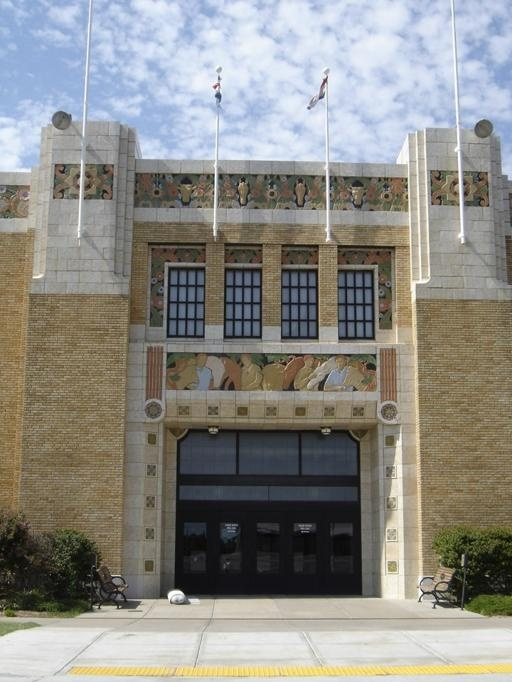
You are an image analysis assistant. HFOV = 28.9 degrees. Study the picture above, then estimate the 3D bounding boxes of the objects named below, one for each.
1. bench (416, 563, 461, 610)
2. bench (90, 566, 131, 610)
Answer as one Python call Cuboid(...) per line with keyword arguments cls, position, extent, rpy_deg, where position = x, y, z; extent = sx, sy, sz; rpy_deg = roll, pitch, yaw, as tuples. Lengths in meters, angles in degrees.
Cuboid(cls="bench", position=(4.452, 6.142, 24.697), extent=(0.602, 0.813, 1.310), rpy_deg=(0, -9, -6))
Cuboid(cls="bench", position=(-3.501, 6.107, 24.489), extent=(0.622, 0.896, 1.482), rpy_deg=(0, -9, -1))
